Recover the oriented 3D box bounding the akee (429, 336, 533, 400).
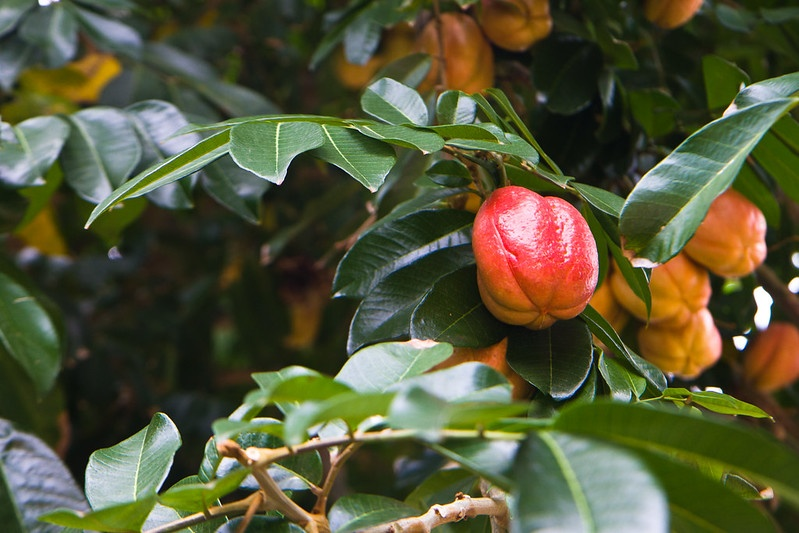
[{"bbox_3d":[0.143,0.158,1.433,0.117,0.106,0.076,-2,85,24],"label":"akee"}]

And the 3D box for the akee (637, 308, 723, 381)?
[{"bbox_3d":[0.541,0.149,1.679,0.121,0.162,0.089,5,77,10],"label":"akee"}]

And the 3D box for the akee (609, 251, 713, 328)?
[{"bbox_3d":[0.508,0.049,1.672,0.121,0.162,0.098,-20,66,21],"label":"akee"}]

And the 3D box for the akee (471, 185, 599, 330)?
[{"bbox_3d":[0.207,-0.023,1.482,0.208,0.211,0.268,0,61,-4],"label":"akee"}]
